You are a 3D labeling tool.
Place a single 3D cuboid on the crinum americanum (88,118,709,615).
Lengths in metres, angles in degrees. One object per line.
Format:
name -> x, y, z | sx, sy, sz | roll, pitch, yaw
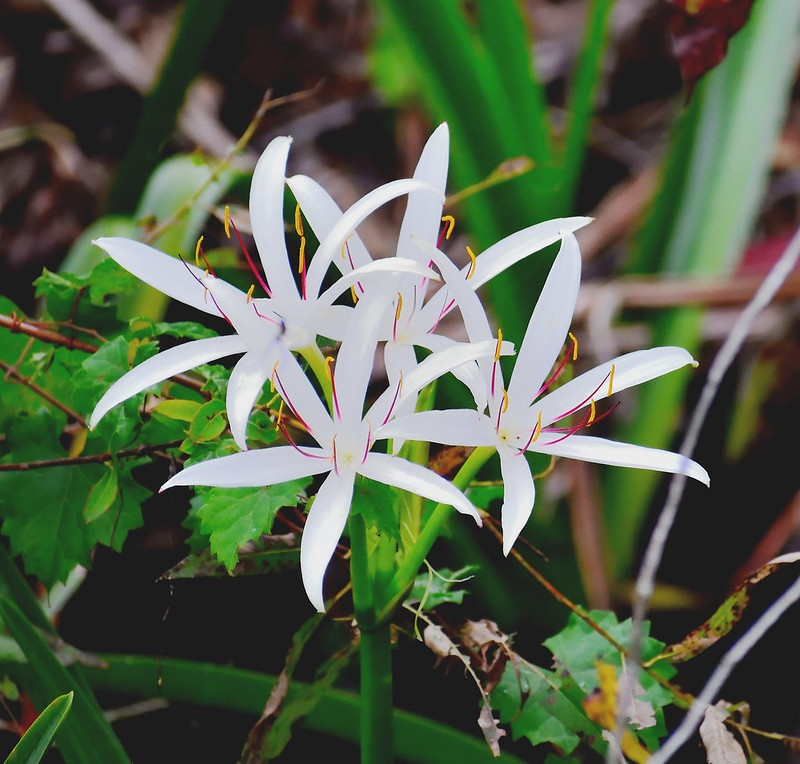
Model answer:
crinum americanum -> -0.005, -0.028, 0.780 | 0.449, 0.351, 0.258 | 2, 12, -19
